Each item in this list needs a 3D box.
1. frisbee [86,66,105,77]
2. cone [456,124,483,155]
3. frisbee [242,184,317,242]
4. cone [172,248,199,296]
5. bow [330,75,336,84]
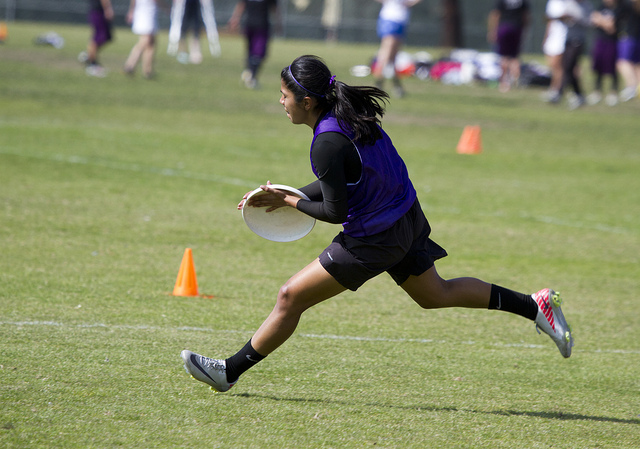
[{"bbox_3d":[-2.014,-1.384,8.820,0.035,0.101,0.246,14,17,19],"label":"frisbee"},{"bbox_3d":[2.150,-1.214,13.807,0.366,0.415,0.611,8,16,6],"label":"cone"},{"bbox_3d":[-0.265,-0.045,6.969,0.550,0.411,0.078,-9,36,-1],"label":"frisbee"},{"bbox_3d":[-1.128,0.398,8.333,0.213,0.394,0.209,5,18,-7],"label":"cone"},{"bbox_3d":[0.078,-0.991,6.670,0.026,0.051,0.042,4,-28,26],"label":"bow"}]
